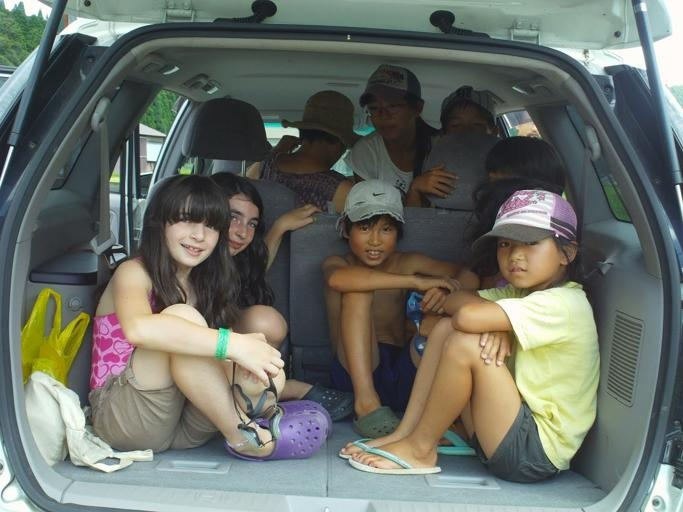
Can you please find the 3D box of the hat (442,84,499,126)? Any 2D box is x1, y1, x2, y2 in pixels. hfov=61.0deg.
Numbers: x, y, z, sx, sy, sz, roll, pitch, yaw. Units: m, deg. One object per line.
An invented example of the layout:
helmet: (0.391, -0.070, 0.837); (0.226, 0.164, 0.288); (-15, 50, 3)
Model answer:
hat: (0.677, -0.863, 3.213); (0.233, 0.138, 0.327); (1, 3, 12)

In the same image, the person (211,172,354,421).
person: (-0.128, 0.074, 2.981); (1.006, 1.286, 0.643); (1, 3, -12)

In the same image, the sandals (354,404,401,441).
sandals: (0.143, 0.636, 2.235); (0.092, 0.073, 0.177); (-26, 2, -39)

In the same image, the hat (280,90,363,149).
hat: (-0.075, -0.840, 3.457); (0.579, 0.301, 0.585); (12, 11, 1)

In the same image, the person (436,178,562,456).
person: (0.718, 0.181, 2.550); (0.671, 0.994, 0.343); (7, 2, 25)

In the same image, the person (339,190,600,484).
person: (0.521, 0.255, 1.994); (0.756, 0.986, 0.260); (3, 3, 5)

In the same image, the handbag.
handbag: (-0.840, 0.520, 1.891); (0.347, 0.150, 0.253); (29, 5, -14)

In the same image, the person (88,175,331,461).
person: (-0.455, 0.204, 2.082); (0.833, 0.992, 0.575); (2, 4, -22)

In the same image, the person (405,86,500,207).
person: (0.602, -0.590, 2.925); (0.431, 0.758, 0.312); (8, -7, 21)

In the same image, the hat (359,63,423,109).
hat: (0.267, -0.973, 3.142); (0.243, 0.167, 0.340); (11, 34, 35)

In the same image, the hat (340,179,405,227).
hat: (0.144, -0.254, 2.566); (0.295, 0.201, 0.381); (1, 11, -17)

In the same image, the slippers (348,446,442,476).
slippers: (0.192, 0.699, 1.967); (0.221, 0.054, 0.120); (9, -5, 1)

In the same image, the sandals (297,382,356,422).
sandals: (-0.046, 0.592, 2.425); (0.193, 0.082, 0.115); (11, 30, 22)

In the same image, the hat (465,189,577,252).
hat: (0.671, -0.151, 2.080); (0.377, 0.197, 0.276); (6, 4, -26)
